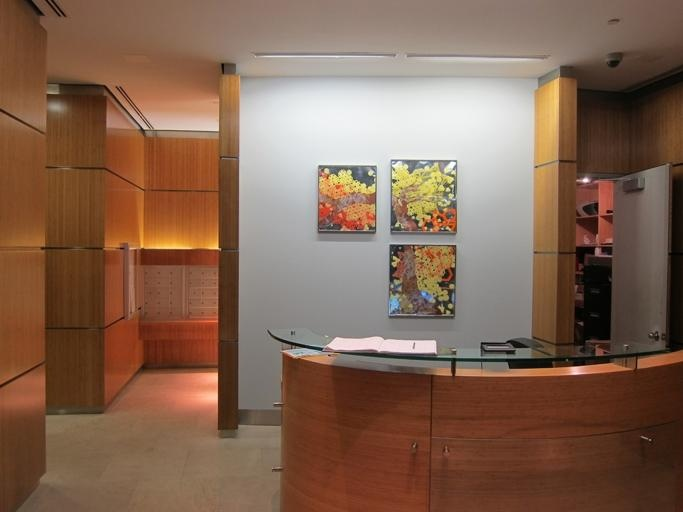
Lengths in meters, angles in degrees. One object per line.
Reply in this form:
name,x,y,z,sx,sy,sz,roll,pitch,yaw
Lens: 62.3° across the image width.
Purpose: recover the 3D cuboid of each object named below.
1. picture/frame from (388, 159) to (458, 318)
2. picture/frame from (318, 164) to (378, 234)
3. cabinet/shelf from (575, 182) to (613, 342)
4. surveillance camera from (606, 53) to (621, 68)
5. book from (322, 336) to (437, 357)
picture/frame,0.898,-0.199,6.241,0.717,1.709,0.319,1,8,7
picture/frame,0.049,-0.635,6.217,0.730,0.766,0.034,1,-2,-4
cabinet/shelf,3.501,0.031,7.932,0.472,2.196,1.926,3,9,22
surveillance camera,2.730,-1.977,5.676,0.154,0.116,0.175,4,9,24
book,0.281,0.622,3.989,0.767,0.053,0.373,2,8,8
